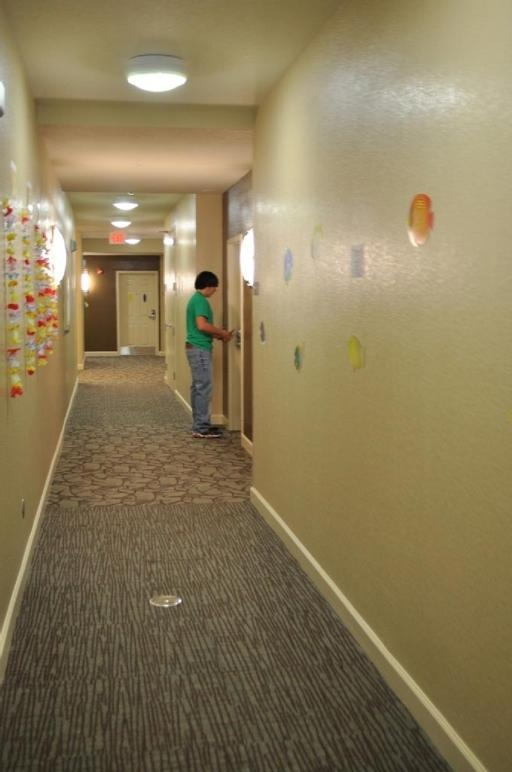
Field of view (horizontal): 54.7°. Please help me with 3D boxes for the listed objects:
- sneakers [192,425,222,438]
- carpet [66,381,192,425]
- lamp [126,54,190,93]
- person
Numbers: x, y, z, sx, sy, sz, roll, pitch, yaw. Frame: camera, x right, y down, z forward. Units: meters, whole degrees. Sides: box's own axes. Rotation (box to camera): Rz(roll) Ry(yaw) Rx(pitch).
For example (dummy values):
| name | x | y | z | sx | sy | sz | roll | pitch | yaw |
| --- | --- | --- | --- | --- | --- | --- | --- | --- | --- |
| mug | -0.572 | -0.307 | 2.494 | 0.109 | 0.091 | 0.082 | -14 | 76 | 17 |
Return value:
| name | x | y | z | sx | sy | sz | roll | pitch | yaw |
| --- | --- | --- | --- | --- | --- | --- | --- | --- | --- |
| sneakers | -0.658 | 0.618 | 6.580 | 0.398 | 0.218 | 0.159 | -3 | 9 | -4 |
| carpet | -2.269 | 0.299 | 8.681 | 1.801 | 0.850 | 3.724 | 3 | -5 | -19 |
| lamp | -0.582 | -1.814 | 2.892 | 0.340 | 0.099 | 0.239 | 2 | -5 | -9 |
| person | -0.651 | -0.386 | 6.527 | 0.480 | 2.161 | 0.636 | 4 | -6 | -32 |
